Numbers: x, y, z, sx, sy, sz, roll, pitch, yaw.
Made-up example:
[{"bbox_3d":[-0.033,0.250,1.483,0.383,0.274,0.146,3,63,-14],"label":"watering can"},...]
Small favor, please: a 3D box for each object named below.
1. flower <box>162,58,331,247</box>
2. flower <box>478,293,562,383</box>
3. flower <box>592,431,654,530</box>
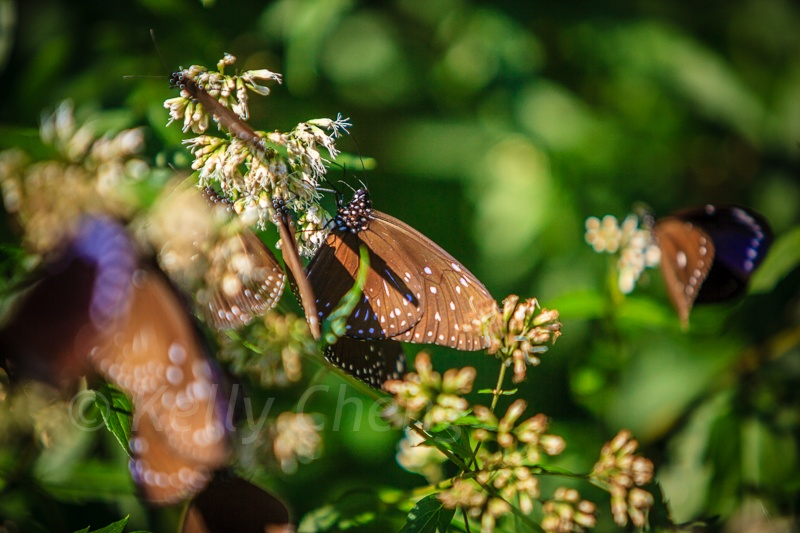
[{"bbox_3d":[-0.346,-0.248,2.202,0.452,0.342,0.234,52,-13,-7],"label":"flower"},{"bbox_3d":[0.287,0.154,2.174,0.185,0.213,0.117,28,8,9],"label":"flower"},{"bbox_3d":[0.528,0.495,2.196,0.140,0.101,0.227,-9,71,-54],"label":"flower"}]
